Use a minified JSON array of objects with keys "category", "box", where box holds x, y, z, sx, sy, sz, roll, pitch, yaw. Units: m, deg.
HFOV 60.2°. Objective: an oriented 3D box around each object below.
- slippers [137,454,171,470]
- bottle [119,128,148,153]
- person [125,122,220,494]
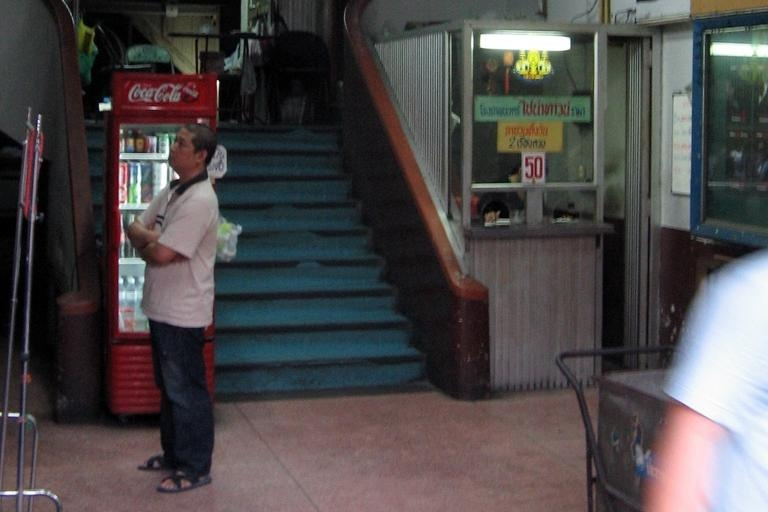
[{"category":"slippers","box":[-1.585,1.485,4.718,0.210,0.097,0.102,4,0,-7]},{"category":"bottle","box":[-2.095,-0.989,5.672,0.190,0.347,0.111,2,-5,-24]},{"category":"person","box":[-1.395,0.322,4.594,0.586,2.413,0.724,-5,11,-30]}]
